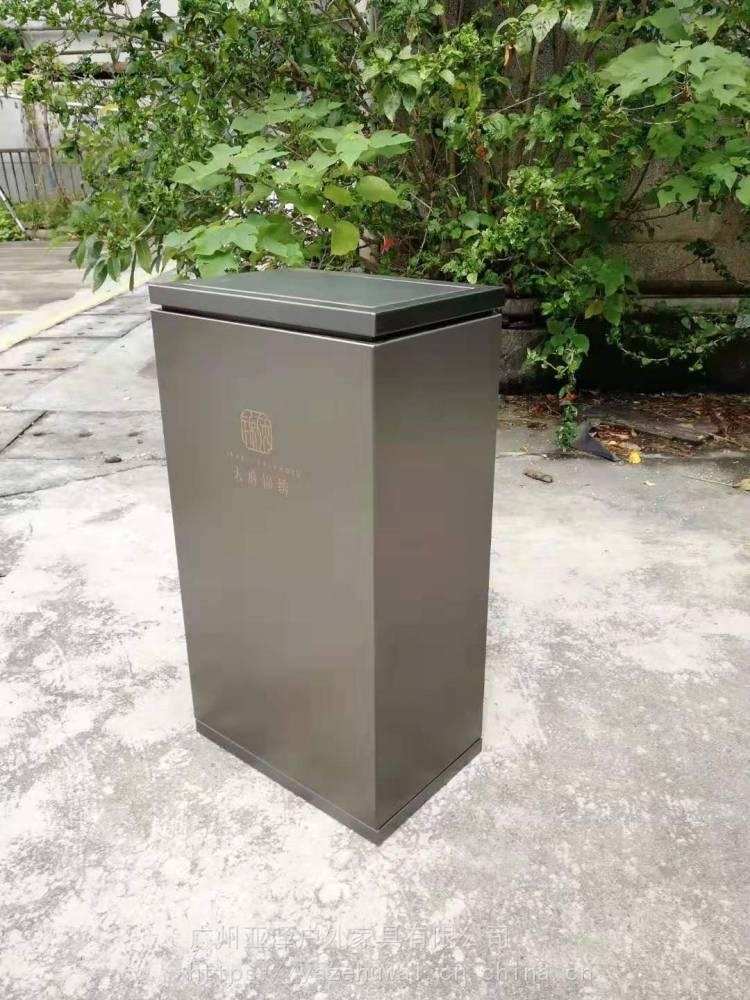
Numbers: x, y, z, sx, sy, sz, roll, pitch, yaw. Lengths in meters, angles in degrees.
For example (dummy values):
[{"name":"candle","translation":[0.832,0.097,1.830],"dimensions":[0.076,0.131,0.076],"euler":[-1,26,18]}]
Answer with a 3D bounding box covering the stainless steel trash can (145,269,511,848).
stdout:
[{"name":"stainless steel trash can","translation":[-0.069,0.102,1.534],"dimensions":[0.603,1.067,0.408],"euler":[16,28,39]}]
